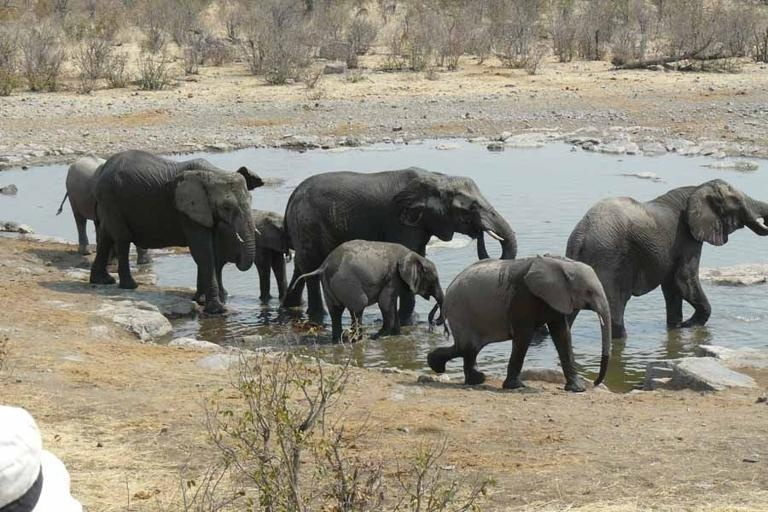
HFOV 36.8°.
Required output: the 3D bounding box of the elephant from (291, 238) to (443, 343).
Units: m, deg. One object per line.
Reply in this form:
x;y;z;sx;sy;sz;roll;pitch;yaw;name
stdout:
-0.177;0.585;18.674;2.695;1.616;1.010;-1;10;-18;elephant
